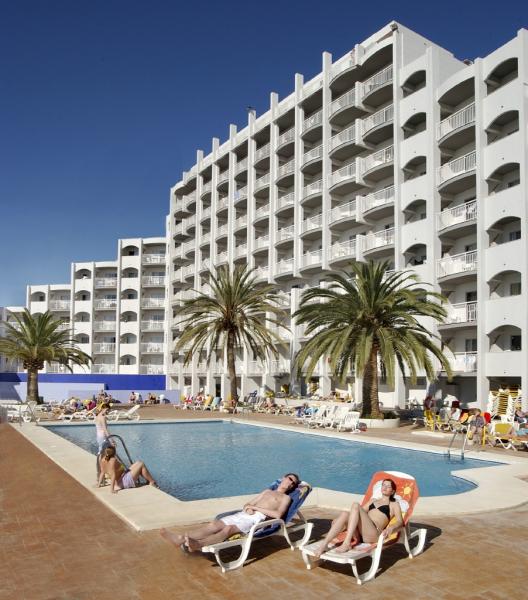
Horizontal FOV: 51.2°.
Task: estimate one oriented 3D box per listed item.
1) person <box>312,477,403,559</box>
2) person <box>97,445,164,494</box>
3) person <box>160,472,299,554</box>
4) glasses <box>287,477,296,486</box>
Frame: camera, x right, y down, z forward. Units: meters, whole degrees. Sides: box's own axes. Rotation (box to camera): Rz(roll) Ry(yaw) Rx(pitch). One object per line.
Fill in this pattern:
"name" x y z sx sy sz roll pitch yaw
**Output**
"person" 0.977 2.201 5.691 1.116 0.586 0.685 7 -6 -38
"person" -2.422 2.957 9.766 0.696 0.807 1.215 -3 0 45
"person" -0.228 2.281 6.060 0.609 0.583 1.864 -5 -13 40
"glasses" 0.346 2.116 6.456 0.091 0.078 0.099 29 16 -22
